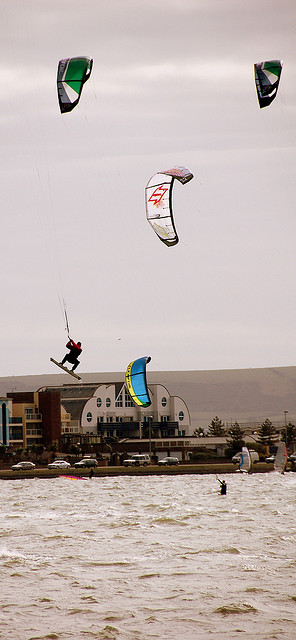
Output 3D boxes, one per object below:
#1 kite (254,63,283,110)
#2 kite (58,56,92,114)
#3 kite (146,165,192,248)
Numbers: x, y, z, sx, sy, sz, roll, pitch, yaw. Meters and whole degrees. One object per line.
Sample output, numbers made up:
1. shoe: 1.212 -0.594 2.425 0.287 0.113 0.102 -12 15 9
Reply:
1. kite: 3.409 -6.649 35.725 0.839 1.185 0.730 -1 6 21
2. kite: -1.759 -6.296 32.777 0.825 0.483 1.814 -7 -8 -9
3. kite: 0.553 -3.265 36.549 0.985 2.204 2.075 -3 6 -5
